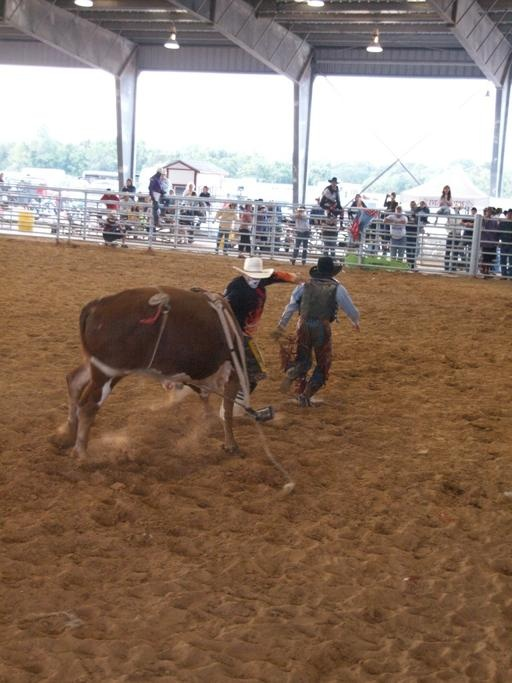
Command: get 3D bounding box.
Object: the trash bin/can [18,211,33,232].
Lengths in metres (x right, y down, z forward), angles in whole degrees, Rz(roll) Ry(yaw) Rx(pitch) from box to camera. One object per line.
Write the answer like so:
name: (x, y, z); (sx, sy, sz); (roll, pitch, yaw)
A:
trash bin/can: (-6.141, -3.211, 16.076); (0.373, 0.542, 1.922); (0, 10, -21)

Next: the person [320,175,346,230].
person: (1.684, -2.989, 13.243); (0.575, 1.151, 0.492); (-26, 35, -30)

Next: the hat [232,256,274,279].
hat: (-0.007, -0.499, 4.302); (0.264, 0.108, 0.285); (1, 10, -5)

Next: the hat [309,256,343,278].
hat: (0.560, -0.597, 4.956); (0.219, 0.087, 0.240); (2, 15, 8)

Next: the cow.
cow: (-0.429, 0.160, 3.603); (0.437, 0.840, 1.695); (14, 13, 43)
